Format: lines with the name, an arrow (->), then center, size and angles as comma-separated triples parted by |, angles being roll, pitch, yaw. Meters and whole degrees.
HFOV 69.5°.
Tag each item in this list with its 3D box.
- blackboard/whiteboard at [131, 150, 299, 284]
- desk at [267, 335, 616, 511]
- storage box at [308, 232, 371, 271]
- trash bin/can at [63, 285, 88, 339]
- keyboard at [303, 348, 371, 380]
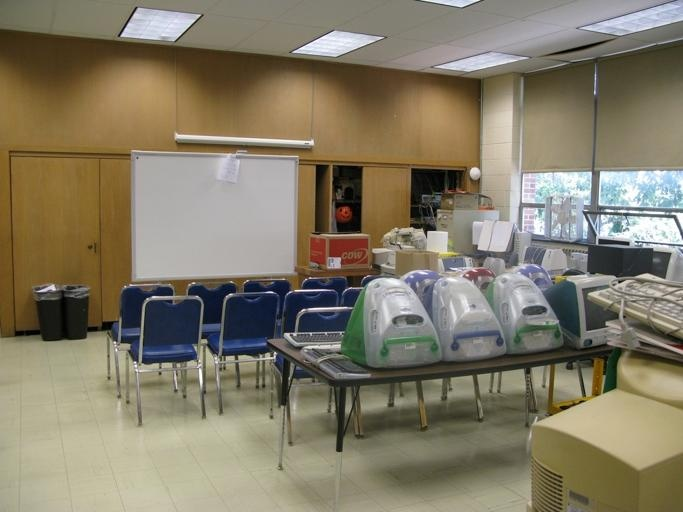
blackboard/whiteboard -> -1.668, -0.523, 6.301 | 1.578, 1.329, 0.064 | -1, 3, -23
desk -> 0.802, 1.046, 4.407 | 2.972, 1.007, 2.221 | -3, 7, -30
storage box -> -0.060, -0.079, 7.207 | 0.690, 0.504, 0.517 | -1, 2, -26
trash bin/can -> -3.906, 0.809, 7.187 | 0.394, 0.736, 0.276 | 4, 7, 29
keyboard -> -0.045, 0.691, 3.228 | 0.251, 0.070, 0.573 | -3, 7, -28
